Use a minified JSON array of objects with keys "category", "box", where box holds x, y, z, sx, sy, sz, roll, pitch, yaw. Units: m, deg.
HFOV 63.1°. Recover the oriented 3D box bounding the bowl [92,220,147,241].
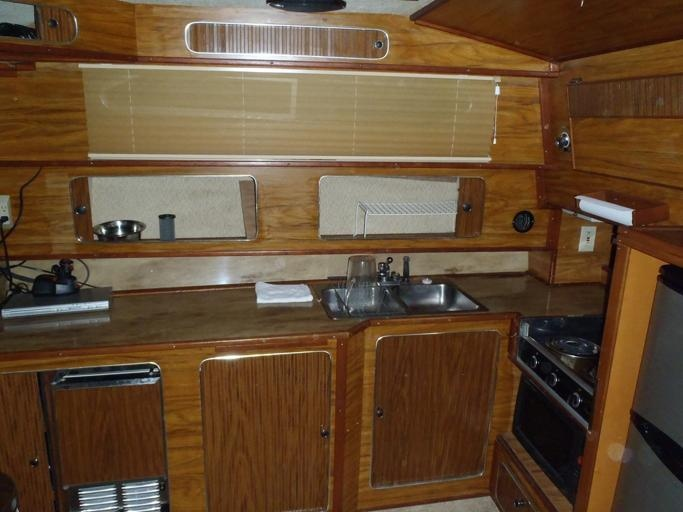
[{"category":"bowl","box":[-1.140,-0.133,2.893,0.186,0.152,0.047,5,-80,12]}]
